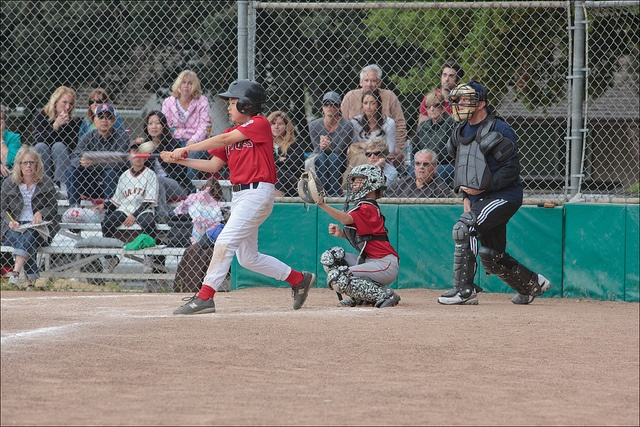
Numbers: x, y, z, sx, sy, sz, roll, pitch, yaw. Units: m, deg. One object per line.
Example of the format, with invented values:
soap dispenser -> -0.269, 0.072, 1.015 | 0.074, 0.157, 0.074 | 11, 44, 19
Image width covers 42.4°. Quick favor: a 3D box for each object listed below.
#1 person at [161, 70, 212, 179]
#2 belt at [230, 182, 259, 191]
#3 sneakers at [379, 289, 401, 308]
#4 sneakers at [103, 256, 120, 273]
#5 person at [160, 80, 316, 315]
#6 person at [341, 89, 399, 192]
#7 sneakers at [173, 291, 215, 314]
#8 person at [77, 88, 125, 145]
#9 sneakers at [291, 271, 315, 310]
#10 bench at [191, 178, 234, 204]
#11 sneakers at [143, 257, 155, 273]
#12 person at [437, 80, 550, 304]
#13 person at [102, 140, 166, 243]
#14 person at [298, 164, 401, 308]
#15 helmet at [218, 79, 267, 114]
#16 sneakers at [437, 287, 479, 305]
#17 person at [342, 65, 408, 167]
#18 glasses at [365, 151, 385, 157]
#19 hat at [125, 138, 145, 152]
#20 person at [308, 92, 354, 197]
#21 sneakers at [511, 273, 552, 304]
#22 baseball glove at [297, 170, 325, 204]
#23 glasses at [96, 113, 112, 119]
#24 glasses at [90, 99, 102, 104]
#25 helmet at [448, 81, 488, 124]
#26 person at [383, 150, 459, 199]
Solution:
person -> -1.847, -1.106, 11.265 | 0.703, 1.592, 0.954 | 0, 17, 4
belt -> -0.801, -0.271, 8.594 | 0.327, 0.096, 0.100 | 0, -1, 40
sneakers -> 0.760, 0.945, 9.082 | 0.154, 0.104, 0.249 | 30, 43, 31
sneakers -> -2.871, 0.691, 11.196 | 0.090, 0.157, 0.225 | 22, 46, 41
person -> -0.845, -0.180, 8.631 | 1.481, 2.428, 0.554 | 1, -1, -11
person -> 0.569, -0.935, 10.576 | 0.614, 1.258, 0.761 | 13, 12, 36
sneakers -> -1.298, 0.952, 8.567 | 0.492, 0.193, 0.158 | 1, -2, -11
person -> -3.074, -1.416, 11.575 | 0.481, 0.478, 0.909 | 0, 1, -5
sneakers -> -0.221, 0.801, 8.923 | 0.239, 0.463, 0.160 | 20, 3, -13
bench -> -1.488, -0.330, 11.270 | 0.413, 0.373, 0.488 | 0, 4, 18
sneakers -> -2.271, 0.657, 10.805 | 0.133, 0.241, 0.176 | 0, -1, -1
person -> 1.856, -0.215, 9.288 | 1.056, 2.469, 0.520 | 0, -1, 6
person -> -2.497, -0.242, 10.870 | 0.835, 1.387, 0.959 | 2, -1, -42
person -> 0.282, 0.276, 9.228 | 1.035, 1.583, 1.336 | 7, 4, 40
helmet -> -0.775, -1.213, 8.755 | 0.533, 0.334, 0.386 | 3, 10, 15
sneakers -> 1.545, 0.928, 9.339 | 0.402, 0.174, 0.181 | 3, -4, -1
person -> 0.626, -1.230, 10.682 | 0.845, 1.122, 0.747 | -9, 20, -15
glasses -> 0.654, -0.742, 10.382 | 0.211, 0.073, 0.048 | 1, -1, -16
hat -> -2.516, -0.920, 11.126 | 0.261, 0.123, 0.154 | -28, 15, -8
person -> 0.096, -0.809, 10.728 | 0.614, 1.438, 0.829 | 2, 8, 2
sneakers -> 2.369, 0.862, 9.460 | 0.564, 0.241, 0.179 | -24, 10, -18
baseball glove -> -0.115, -0.260, 8.839 | 0.150, 0.349, 0.258 | -29, -14, -20
glasses -> -2.904, -1.298, 11.029 | 0.124, 0.084, 0.195 | 1, -7, 3
glasses -> -3.128, -1.537, 11.440 | 0.096, 0.045, 0.126 | -3, 0, -35
helmet -> 1.652, -1.271, 9.297 | 0.518, 0.416, 0.431 | -8, 9, -35
person -> 1.309, -0.486, 10.304 | 1.078, 0.547, 0.384 | 5, 1, 35
